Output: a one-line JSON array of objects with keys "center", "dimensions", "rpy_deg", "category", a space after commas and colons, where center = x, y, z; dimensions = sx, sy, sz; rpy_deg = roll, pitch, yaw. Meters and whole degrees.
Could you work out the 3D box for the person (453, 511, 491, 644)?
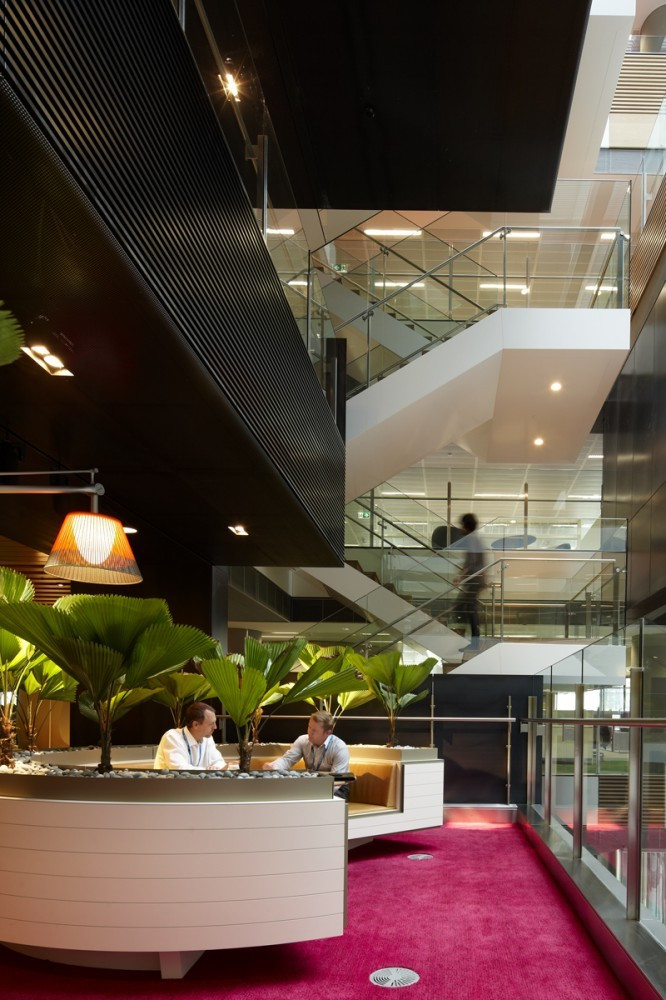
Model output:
[{"center": [1.814, 1.051, 10.060], "dimensions": [0.368, 0.391, 1.297], "rpy_deg": [-9, 26, 19], "category": "person"}]
